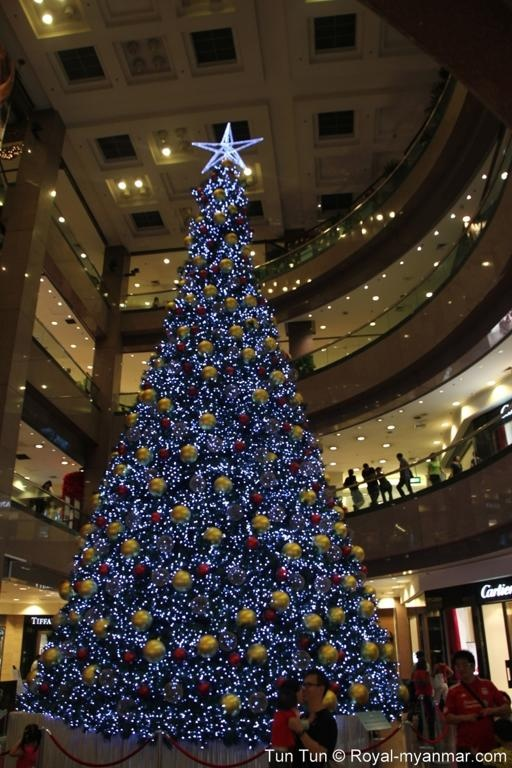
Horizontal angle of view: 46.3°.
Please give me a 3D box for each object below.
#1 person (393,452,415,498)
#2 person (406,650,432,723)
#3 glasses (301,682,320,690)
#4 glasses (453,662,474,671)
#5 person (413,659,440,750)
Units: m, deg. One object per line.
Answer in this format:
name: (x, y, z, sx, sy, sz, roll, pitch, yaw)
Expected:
person: (2.965, 1.823, 11.952, 0.364, 0.871, 0.291, -5, -56, 15)
person: (2.143, 3.874, 7.925, 0.291, 0.743, 0.290, -7, -42, 20)
glasses: (0.252, 1.395, 2.762, 0.054, 0.023, 0.057, 32, -38, -30)
glasses: (1.211, 1.643, 3.460, 0.065, 0.034, 0.090, -5, -31, 15)
person: (2.180, 4.073, 7.743, 0.264, 1.009, 1.069, -6, -27, 12)
